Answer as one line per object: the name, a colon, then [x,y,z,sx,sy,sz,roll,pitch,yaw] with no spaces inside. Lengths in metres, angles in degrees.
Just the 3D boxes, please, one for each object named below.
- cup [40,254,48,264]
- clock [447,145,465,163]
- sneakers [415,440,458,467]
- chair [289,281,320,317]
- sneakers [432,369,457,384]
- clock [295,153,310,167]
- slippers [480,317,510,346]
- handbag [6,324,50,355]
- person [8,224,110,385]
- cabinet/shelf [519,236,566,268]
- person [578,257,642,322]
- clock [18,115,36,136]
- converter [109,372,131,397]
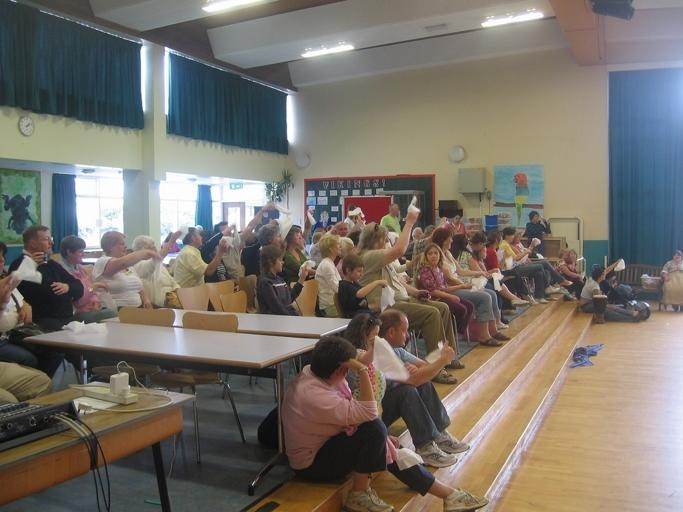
cup: [-2.430,0.019,4.066,0.058,0.084,0.083,1,-16,-34]
clock: [2.664,-2.358,11.476,0.364,0.395,0.148,2,5,15]
sneakers: [0.605,1.263,3.259,0.300,0.166,0.125,1,8,15]
chair: [-0.331,0.415,4.892,0.253,0.482,0.310,3,1,-3]
sneakers: [0.893,1.053,4.354,0.226,0.107,0.085,-2,-1,31]
clock: [-1.049,-2.575,13.257,0.509,0.465,0.074,3,5,30]
slippers: [1.680,0.858,5.593,0.505,0.395,0.179,-1,1,-38]
handbag: [-2.283,0.581,3.614,0.219,0.096,0.195,19,14,31]
person: [-2.328,0.425,4.284,0.736,1.354,0.472,-6,-3,-9]
cabinet/shelf: [3.772,-0.063,9.337,0.527,0.570,0.216,2,-5,17]
person: [4.543,0.647,8.826,1.011,1.157,0.793,3,-5,5]
clock: [-5.057,-2.101,7.996,0.040,0.346,0.231,3,5,31]
converter: [-1.063,0.619,2.435,0.088,0.113,0.105,-2,-2,33]
